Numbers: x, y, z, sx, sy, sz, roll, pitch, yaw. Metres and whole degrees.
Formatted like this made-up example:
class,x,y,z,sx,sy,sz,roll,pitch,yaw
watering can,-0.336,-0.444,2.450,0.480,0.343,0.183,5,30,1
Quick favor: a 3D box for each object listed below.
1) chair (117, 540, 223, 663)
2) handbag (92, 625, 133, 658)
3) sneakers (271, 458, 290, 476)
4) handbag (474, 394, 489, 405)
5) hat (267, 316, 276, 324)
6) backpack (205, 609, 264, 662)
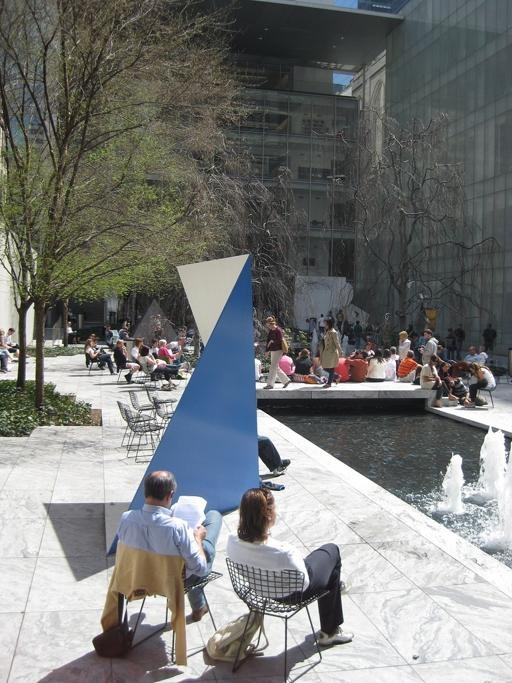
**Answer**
class,x,y,z,sx,sy,sz,roll,pitch,yaw
chair,-0.425,1.182,3.285,0.364,0.623,0.507,14,2,21
handbag,-0.704,1.442,3.191,0.142,0.133,0.177,-14,-9,-8
sneakers,0.263,1.360,7.082,0.057,0.139,0.193,-4,39,36
handbag,4.532,1.162,13.090,0.165,0.124,0.257,-1,0,4
hat,0.300,-0.424,12.543,0.174,0.108,0.276,-1,1,0
backpack,-0.104,1.431,3.155,0.236,0.093,0.216,-25,44,9
